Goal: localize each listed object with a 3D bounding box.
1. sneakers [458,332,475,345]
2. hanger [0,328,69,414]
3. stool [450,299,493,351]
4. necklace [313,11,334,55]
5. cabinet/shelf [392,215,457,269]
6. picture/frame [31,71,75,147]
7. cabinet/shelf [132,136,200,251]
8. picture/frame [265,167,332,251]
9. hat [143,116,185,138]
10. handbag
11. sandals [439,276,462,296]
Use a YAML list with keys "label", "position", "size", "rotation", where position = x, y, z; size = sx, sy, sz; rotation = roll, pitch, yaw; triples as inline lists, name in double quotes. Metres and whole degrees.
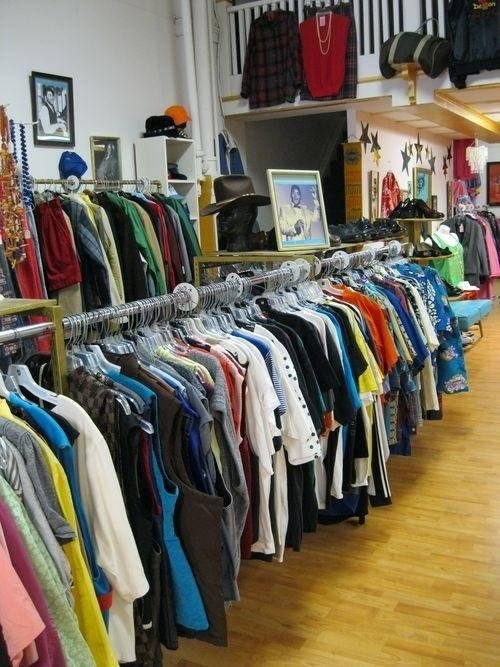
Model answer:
- label: "sneakers"
  position: [2.275, 0.060, 5.395]
  size: [0.116, 0.150, 0.358]
  rotation: [-5, 1, 3]
- label: "hanger"
  position: [-0.509, 0.091, 1.208]
  size: [0.013, 0.103, 0.170]
  rotation: [3, 12, 21]
- label: "stool"
  position: [2.251, -0.068, 5.212]
  size: [0.347, 0.281, 0.598]
  rotation: [2, 13, 26]
- label: "necklace"
  position: [0.754, -3.075, 5.252]
  size: [0.166, 0.415, 0.062]
  rotation: [-3, 6, 9]
- label: "cabinet/shelf"
  position: [1.714, -0.871, 4.941]
  size: [0.403, 0.421, 2.653]
  rotation: [-2, 7, 21]
- label: "picture/frame"
  position: [-1.538, -1.733, 3.998]
  size: [0.038, 0.595, 0.445]
  rotation: [-1, 7, 28]
- label: "cabinet/shelf"
  position: [-0.752, -1.349, 4.730]
  size: [0.593, 0.882, 0.438]
  rotation: [-6, 6, -15]
- label: "picture/frame"
  position: [0.261, -0.633, 2.712]
  size: [0.038, 0.426, 0.488]
  rotation: [-5, 6, 39]
- label: "hat"
  position: [-0.800, -1.866, 4.670]
  size: [0.301, 0.170, 0.222]
  rotation: [-4, 20, 1]
- label: "handbag"
  position: [1.556, -2.624, 4.822]
  size: [0.474, 0.473, 0.241]
  rotation: [10, 10, 30]
- label: "sandals"
  position: [1.981, -0.435, 5.027]
  size: [0.163, 0.158, 0.448]
  rotation: [-2, 7, 22]
